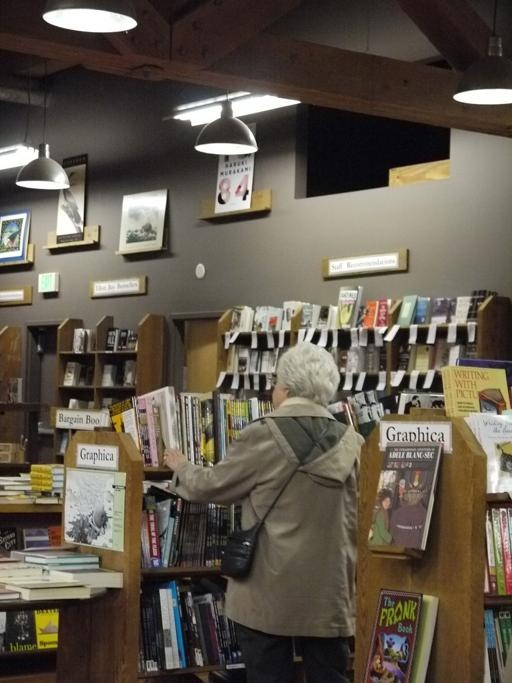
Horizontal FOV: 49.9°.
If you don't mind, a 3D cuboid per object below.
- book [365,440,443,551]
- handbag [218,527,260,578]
[{"bbox_3d":[0.388,0.400,1.364,0.059,0.285,0.289,18,-7,-9],"label":"book"},{"bbox_3d":[-0.036,0.593,1.567,0.070,0.166,0.116,11,-27,9],"label":"handbag"}]
